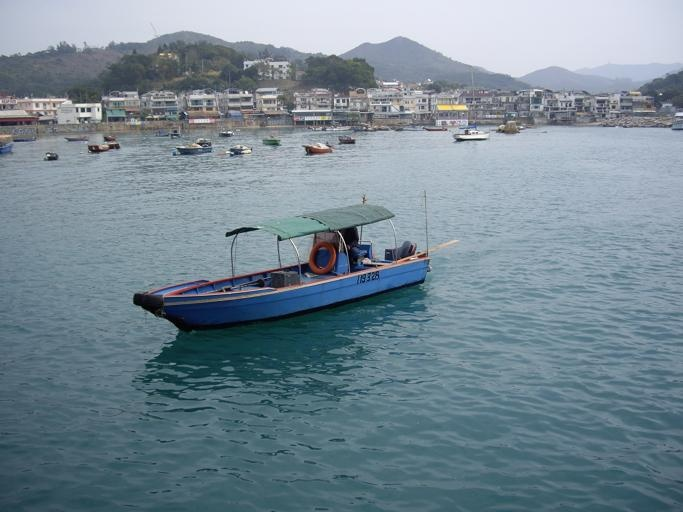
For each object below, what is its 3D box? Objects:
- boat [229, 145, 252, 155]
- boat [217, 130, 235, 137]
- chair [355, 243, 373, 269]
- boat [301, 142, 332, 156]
[{"bbox_3d":[-12.189,-12.677,91.169,2.856,1.015,1.551,1,13,13],"label":"boat"},{"bbox_3d":[-20.061,-21.417,133.639,2.537,0.805,3.201,3,11,-2],"label":"boat"},{"bbox_3d":[0.774,0.030,29.666,0.971,0.890,0.631,3,10,-14],"label":"chair"},{"bbox_3d":[-2.384,-12.805,91.118,3.786,1.022,1.959,-6,23,-35],"label":"boat"}]
